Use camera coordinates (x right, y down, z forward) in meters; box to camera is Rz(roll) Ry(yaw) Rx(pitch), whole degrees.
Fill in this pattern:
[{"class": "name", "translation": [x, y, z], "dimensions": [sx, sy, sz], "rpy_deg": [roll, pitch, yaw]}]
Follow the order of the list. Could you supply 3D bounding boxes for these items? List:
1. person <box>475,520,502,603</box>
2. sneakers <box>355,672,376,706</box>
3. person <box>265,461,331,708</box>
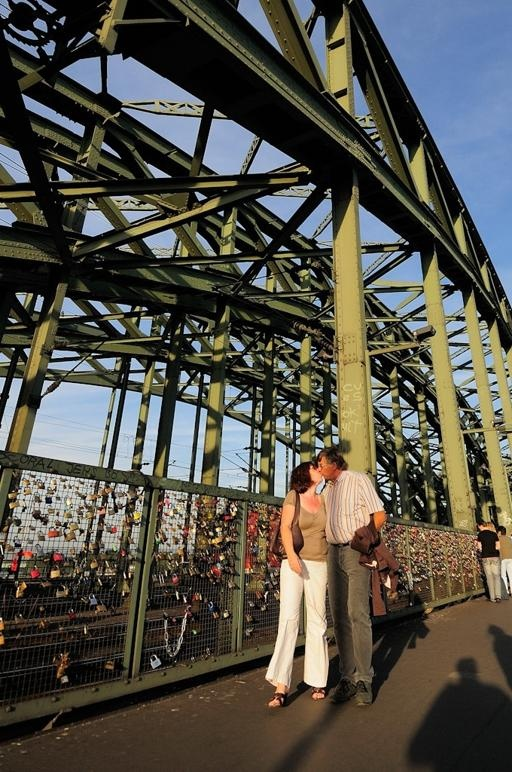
[{"class": "person", "translation": [5.016, 3.781, 10.240], "dimensions": [0.441, 1.609, 0.833], "rpy_deg": [-7, -23, 23]}, {"class": "sneakers", "translation": [0.712, 2.024, 3.144], "dimensions": [0.105, 0.165, 0.097], "rpy_deg": [0, -21, 8]}, {"class": "person", "translation": [0.311, 1.387, 3.461], "dimensions": [0.390, 1.663, 0.654], "rpy_deg": [0, -21, 8]}]
